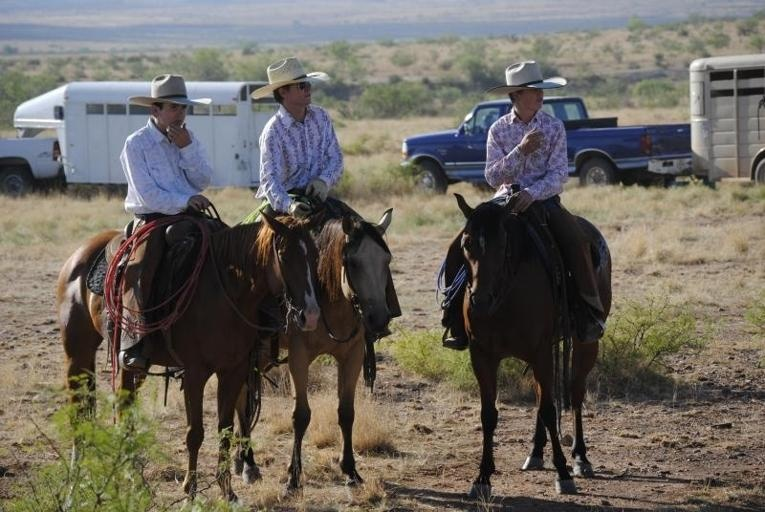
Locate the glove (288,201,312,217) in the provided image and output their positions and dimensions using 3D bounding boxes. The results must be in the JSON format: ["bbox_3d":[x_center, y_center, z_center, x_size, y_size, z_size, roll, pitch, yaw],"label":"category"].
[{"bbox_3d":[-1.685,-0.955,24.317,0.312,0.304,0.357,-2,13,1],"label":"glove"}]

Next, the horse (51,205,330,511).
[{"bbox_3d":[-4.176,1.830,25.128,7.034,5.953,2.095,5,12,34],"label":"horse"}]

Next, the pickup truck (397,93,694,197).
[{"bbox_3d":[5.369,-3.319,38.471,7.431,3.215,3.914,2,5,18],"label":"pickup truck"}]

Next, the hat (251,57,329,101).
[{"bbox_3d":[-2.024,-3.463,25.149,1.141,0.507,1.052,-23,5,22],"label":"hat"}]

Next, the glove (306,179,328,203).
[{"bbox_3d":[-1.368,-1.360,24.785,0.448,0.451,0.242,-4,9,-6],"label":"glove"}]
